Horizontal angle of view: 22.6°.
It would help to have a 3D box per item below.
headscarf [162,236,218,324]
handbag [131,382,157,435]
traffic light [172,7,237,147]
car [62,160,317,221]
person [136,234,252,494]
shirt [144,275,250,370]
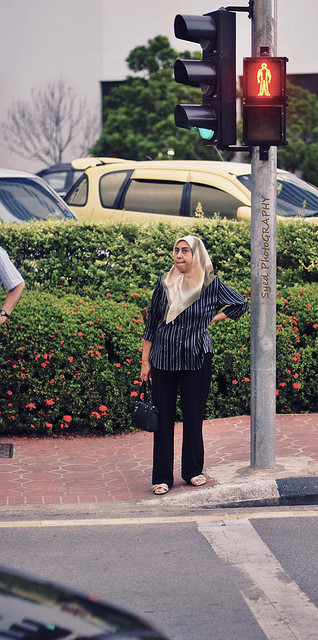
[{"bbox_3d":[0.201,-0.285,5.506,0.375,0.596,0.253,0,6,2],"label":"headscarf"},{"bbox_3d":[-0.108,0.584,5.456,0.230,0.301,0.068,14,20,37],"label":"handbag"},{"bbox_3d":[0.332,-1.785,5.810,0.513,1.069,0.576,2,6,15],"label":"traffic light"},{"bbox_3d":[0.327,-1.813,11.136,3.005,1.306,1.658,1,11,16],"label":"car"},{"bbox_3d":[0.208,0.303,5.543,0.667,1.773,0.349,0,6,-3],"label":"person"},{"bbox_3d":[0.239,0.012,5.541,0.724,0.740,0.294,2,-5,10],"label":"shirt"}]
